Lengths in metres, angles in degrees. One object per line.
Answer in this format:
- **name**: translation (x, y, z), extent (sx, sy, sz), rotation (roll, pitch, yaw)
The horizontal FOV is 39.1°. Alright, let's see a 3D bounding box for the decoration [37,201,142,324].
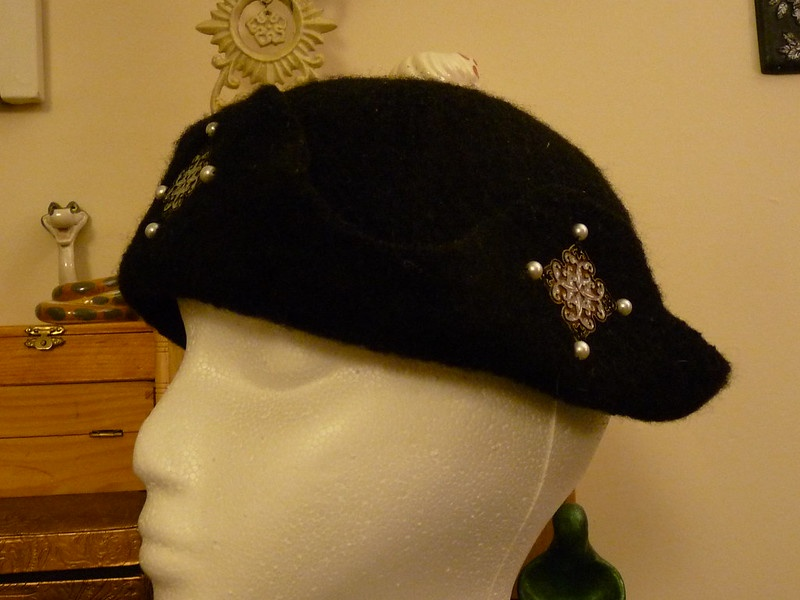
- **decoration**: translation (-0.725, -0.102, 2.572), extent (0.233, 0.280, 0.240), rotation (-2, 10, 13)
